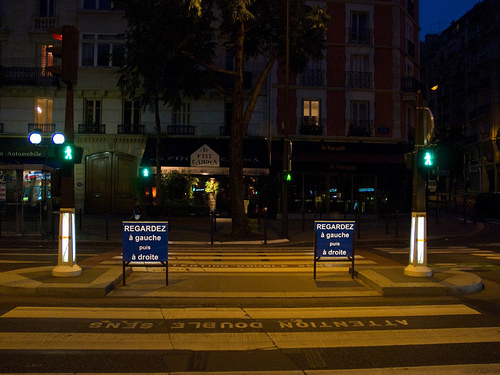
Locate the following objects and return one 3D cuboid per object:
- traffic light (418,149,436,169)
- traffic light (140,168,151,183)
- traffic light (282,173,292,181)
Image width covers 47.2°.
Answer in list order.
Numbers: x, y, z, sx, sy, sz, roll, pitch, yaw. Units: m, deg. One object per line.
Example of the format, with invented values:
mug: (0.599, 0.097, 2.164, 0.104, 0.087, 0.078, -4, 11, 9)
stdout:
traffic light: (5.250, -0.851, 16.920, 0.448, 0.735, 0.566, 0, -2, 1)
traffic light: (-5.997, -0.765, 32.839, 0.707, 0.767, 1.399, -3, 12, -7)
traffic light: (1.618, -0.481, 25.325, 0.287, 0.323, 0.298, 0, -3, 24)
